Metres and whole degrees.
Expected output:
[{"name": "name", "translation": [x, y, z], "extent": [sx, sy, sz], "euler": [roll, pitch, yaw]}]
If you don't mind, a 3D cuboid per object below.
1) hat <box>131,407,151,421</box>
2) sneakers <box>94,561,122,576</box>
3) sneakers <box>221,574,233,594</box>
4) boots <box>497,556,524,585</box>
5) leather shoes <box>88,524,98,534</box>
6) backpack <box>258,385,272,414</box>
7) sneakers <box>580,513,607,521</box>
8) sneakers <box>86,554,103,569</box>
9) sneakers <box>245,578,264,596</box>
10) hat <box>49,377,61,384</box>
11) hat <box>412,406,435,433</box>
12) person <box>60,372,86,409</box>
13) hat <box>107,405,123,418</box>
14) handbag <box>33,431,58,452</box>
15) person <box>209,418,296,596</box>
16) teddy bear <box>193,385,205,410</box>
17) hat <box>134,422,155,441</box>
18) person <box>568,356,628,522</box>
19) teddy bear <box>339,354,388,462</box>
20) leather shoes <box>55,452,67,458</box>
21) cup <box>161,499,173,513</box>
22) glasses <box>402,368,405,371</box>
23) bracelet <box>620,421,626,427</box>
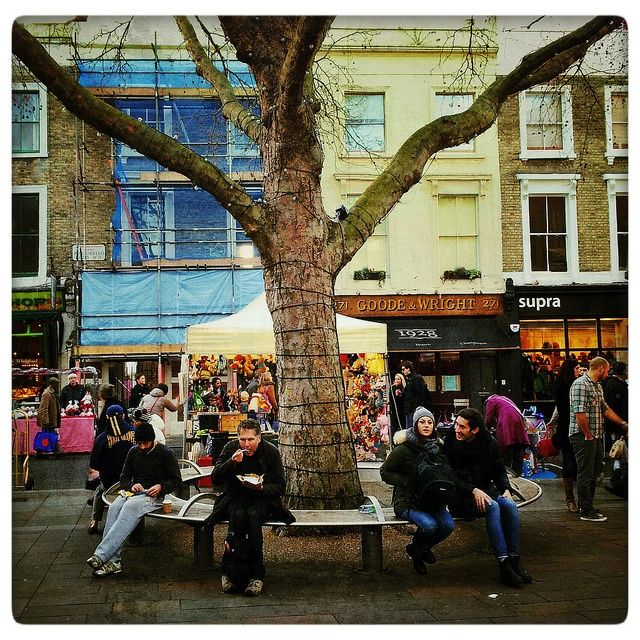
[{"name": "hat", "translation": [-2.187, 1.169, 12.632], "extent": [0.218, 0.170, 0.427], "euler": [-1, 6, -11]}, {"name": "sneakers", "translation": [-2.434, 2.860, 11.921], "extent": [0.329, 0.178, 0.125], "euler": [4, -4, -32]}, {"name": "sneakers", "translation": [-1.038, 2.927, 11.419], "extent": [0.187, 0.171, 0.110], "euler": [5, 7, 41]}, {"name": "boots", "translation": [2.148, 2.847, 11.654], "extent": [0.263, 0.299, 0.153], "euler": [2, 6, 25]}, {"name": "leather shoes", "translation": [-3.012, 2.770, 13.669], "extent": [0.096, 0.082, 0.286], "euler": [1, -4, -11]}, {"name": "backpack", "translation": [-0.952, 1.385, 17.694], "extent": [0.227, 0.455, 0.382], "euler": [0, 5, -5]}, {"name": "sneakers", "translation": [3.745, 2.704, 14.167], "extent": [0.355, 0.147, 0.128], "euler": [-3, -4, 24]}, {"name": "sneakers", "translation": [-2.555, 2.775, 11.813], "extent": [0.152, 0.176, 0.137], "euler": [-11, -49, 34]}, {"name": "sneakers", "translation": [-0.733, 2.947, 11.353], "extent": [0.194, 0.149, 0.163], "euler": [-1, 6, -5]}, {"name": "hat", "translation": [-5.783, 1.315, 22.343], "extent": [0.205, 0.137, 0.305], "euler": [-1, 3, -17]}, {"name": "hat", "translation": [1.223, 1.184, 12.232], "extent": [0.206, 0.259, 0.261], "euler": [1, -2, -7]}, {"name": "person", "translation": [-5.261, 1.512, 21.894], "extent": [0.600, 1.017, 0.475], "euler": [1, -10, -22]}, {"name": "hat", "translation": [-2.752, 1.228, 13.806], "extent": [0.129, 0.173, 0.164], "euler": [4, 20, 3]}, {"name": "handbag", "translation": [-5.522, 2.446, 20.706], "extent": [0.375, 0.573, 0.171], "euler": [2, -1, -21]}, {"name": "person", "translation": [-0.841, 2.072, 11.722], "extent": [0.816, 1.800, 0.922], "euler": [4, 6, 36]}, {"name": "teddy bear", "translation": [-2.219, 1.433, 18.770], "extent": [0.338, 0.479, 0.266], "euler": [3, -7, -9]}, {"name": "hat", "translation": [-2.111, 1.346, 12.459], "extent": [0.175, 0.216, 0.209], "euler": [-1, 3, -2]}, {"name": "person", "translation": [3.691, 1.645, 14.230], "extent": [0.483, 2.232, 0.526], "euler": [0, 5, 4]}, {"name": "teddy bear", "translation": [0.838, 1.586, 19.262], "extent": [0.837, 1.784, 1.245], "euler": [0, 5, 1]}, {"name": "leather shoes", "translation": [-5.181, 2.704, 20.662], "extent": [0.230, 0.092, 0.423], "euler": [-1, 6, -11]}, {"name": "cup", "translation": [-1.855, 2.254, 12.477], "extent": [0.108, 0.124, 0.113], "euler": [-3, -13, -1]}, {"name": "glasses", "translation": [1.459, 0.878, 18.125], "extent": [0.036, 0.068, 0.043], "euler": [-2, -2, 8]}, {"name": "bracelet", "translation": [4.297, 1.490, 14.638], "extent": [0.075, 0.087, 0.082], "euler": [-3, 14, 6]}]
